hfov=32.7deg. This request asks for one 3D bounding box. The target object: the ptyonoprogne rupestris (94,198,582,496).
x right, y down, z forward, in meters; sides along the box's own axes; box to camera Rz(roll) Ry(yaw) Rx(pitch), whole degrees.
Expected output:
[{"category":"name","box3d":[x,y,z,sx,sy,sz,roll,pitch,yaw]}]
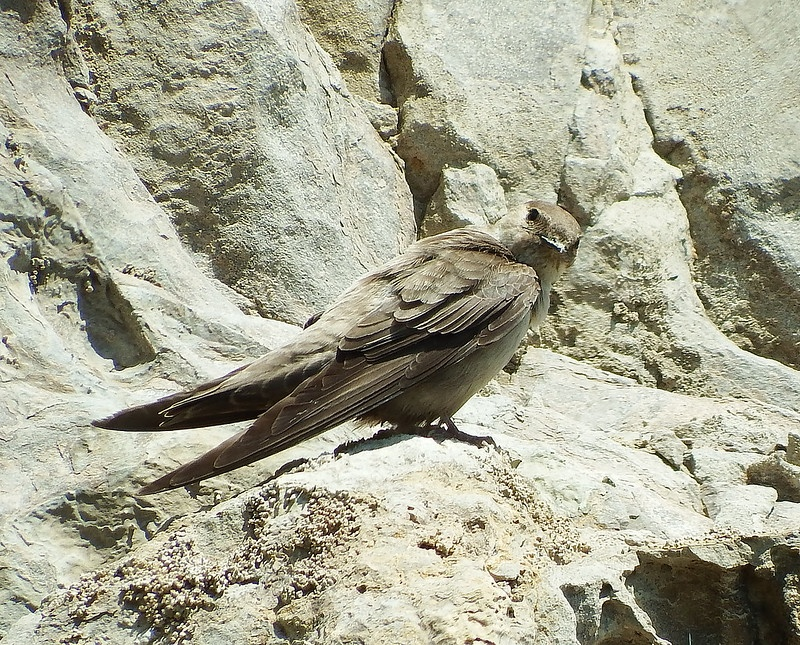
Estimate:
[{"category":"ptyonoprogne rupestris","box3d":[-0.065,0.104,6.905,3.343,1.298,1.020,-2,14,-22]}]
